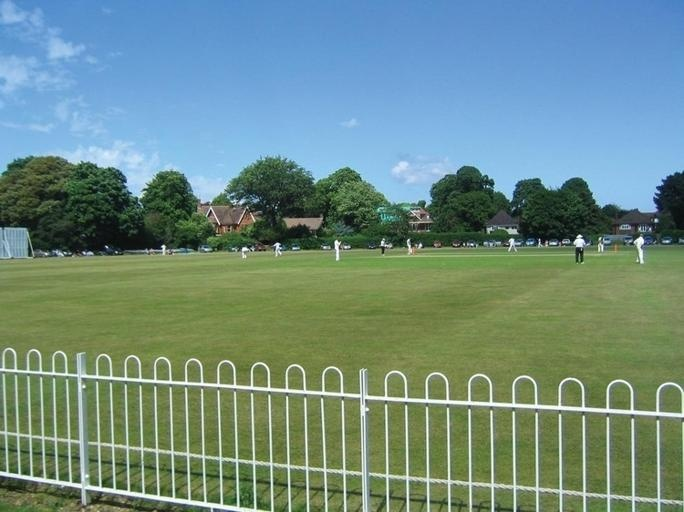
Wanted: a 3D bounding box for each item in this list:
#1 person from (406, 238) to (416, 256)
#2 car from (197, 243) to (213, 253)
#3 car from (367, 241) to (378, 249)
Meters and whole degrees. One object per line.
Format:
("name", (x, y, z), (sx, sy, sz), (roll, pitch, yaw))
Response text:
("person", (6.180, -0.796, 86.662), (0.709, 2.060, 0.850), (-8, 31, 3))
("car", (-15.992, -0.829, 110.324), (1.056, 0.784, 1.675), (-1, -4, -43))
("car", (3.219, -1.258, 107.750), (1.577, 0.764, 0.859), (1, 2, 45))
